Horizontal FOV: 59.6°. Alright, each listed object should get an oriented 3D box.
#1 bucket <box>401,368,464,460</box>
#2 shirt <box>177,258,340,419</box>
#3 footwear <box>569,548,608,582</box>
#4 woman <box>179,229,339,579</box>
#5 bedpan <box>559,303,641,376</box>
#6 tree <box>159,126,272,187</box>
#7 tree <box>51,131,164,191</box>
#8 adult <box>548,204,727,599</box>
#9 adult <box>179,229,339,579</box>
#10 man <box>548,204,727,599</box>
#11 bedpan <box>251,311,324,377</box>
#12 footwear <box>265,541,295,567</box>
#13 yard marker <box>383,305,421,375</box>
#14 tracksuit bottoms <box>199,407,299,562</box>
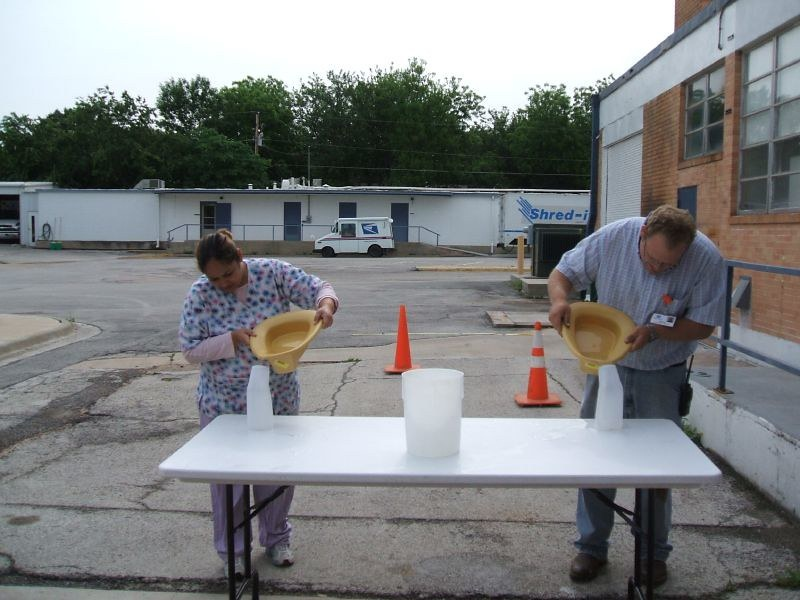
[{"bbox_3d":[0.168,0.573,3.545,0.403,0.456,0.406,0,-1,0],"label":"bucket"},{"bbox_3d":[-0.947,0.199,4.433,1.101,1.123,0.886,-5,7,-23],"label":"shirt"},{"bbox_3d":[1.123,1.592,4.207,0.102,0.114,0.288,-7,-9,32],"label":"footwear"},{"bbox_3d":[-0.772,0.609,4.260,0.982,2.015,0.813,-2,0,10],"label":"woman"},{"bbox_3d":[1.095,0.240,3.871,0.389,0.520,0.188,14,-38,6],"label":"bedpan"},{"bbox_3d":[-14.038,-10.266,52.344,5.868,4.756,3.757,-9,-17,27],"label":"tree"},{"bbox_3d":[-21.725,-9.826,53.172,6.521,3.631,5.403,-13,30,-34],"label":"tree"},{"bbox_3d":[1.379,0.574,4.261,1.031,2.283,0.990,2,6,16],"label":"adult"},{"bbox_3d":[-0.806,0.587,4.204,0.943,1.951,0.893,-3,-2,3],"label":"adult"},{"bbox_3d":[1.369,0.578,4.249,1.040,2.277,0.980,2,5,15],"label":"man"},{"bbox_3d":[-0.636,0.254,3.929,0.397,0.376,0.466,0,4,-10],"label":"bedpan"},{"bbox_3d":[-0.738,1.587,4.370,0.089,0.093,0.208,4,-10,-23],"label":"footwear"},{"bbox_3d":[0.037,0.462,8.305,0.641,0.737,0.640,-2,3,-28],"label":"yard marker"},{"bbox_3d":[-0.887,1.113,4.500,0.799,0.805,0.816,0,0,-2],"label":"tracksuit bottoms"}]
